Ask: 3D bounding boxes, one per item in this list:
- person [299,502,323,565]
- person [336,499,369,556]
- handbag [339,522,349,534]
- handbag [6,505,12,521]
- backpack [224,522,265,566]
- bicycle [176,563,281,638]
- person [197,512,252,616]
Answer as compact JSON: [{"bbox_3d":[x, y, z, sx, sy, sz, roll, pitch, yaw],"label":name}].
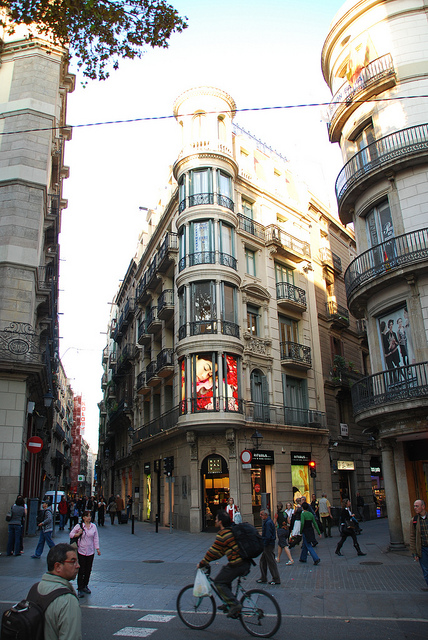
[{"bbox_3d":[2.649,5.979,12.252,0.489,1.571,0.830,14,-24,-25],"label":"person"},{"bbox_3d":[4.104,6.286,13.249,0.727,1.570,0.690,15,-26,-27],"label":"person"},{"bbox_3d":[3.856,6.220,13.003,0.167,0.319,0.361,-2,-19,-4],"label":"handbag"},{"bbox_3d":[-6.230,5.912,13.180,0.151,0.313,0.143,11,-23,-35],"label":"handbag"},{"bbox_3d":[0.411,2.981,5.807,0.590,0.614,0.428,-11,-27,8],"label":"backpack"},{"bbox_3d":[0.188,3.733,5.917,1.517,0.985,0.780,-12,-31,20],"label":"bicycle"},{"bbox_3d":[0.129,3.233,5.850,0.496,1.222,0.716,2,-6,-28],"label":"person"}]
